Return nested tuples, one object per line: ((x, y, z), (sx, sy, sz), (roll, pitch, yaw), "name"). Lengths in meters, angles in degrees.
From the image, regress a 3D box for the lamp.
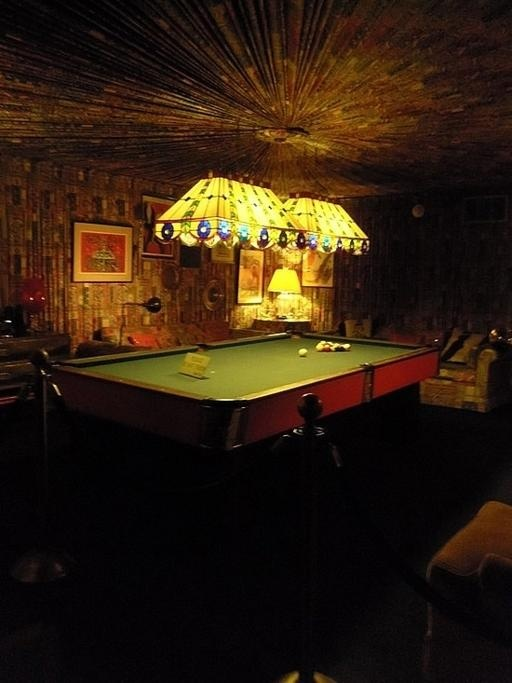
((0.068, -0.859, 3.785), (0.508, 0.436, 1.441), (8, 9, 44), "lamp")

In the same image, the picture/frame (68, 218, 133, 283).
((-1.607, -0.917, 5.716), (0.036, 0.598, 0.746), (11, 12, 39), "picture/frame")

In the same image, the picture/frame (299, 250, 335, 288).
((0.855, -1.004, 7.552), (0.635, 0.646, 0.089), (3, 3, 34), "picture/frame")

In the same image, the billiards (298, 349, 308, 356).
((0.317, 0.076, 3.722), (0.045, 0.031, 0.053), (-7, 6, -37), "billiards")

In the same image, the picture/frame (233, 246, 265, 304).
((-0.124, -0.920, 7.497), (0.097, 0.881, 0.808), (2, 3, 25), "picture/frame")
